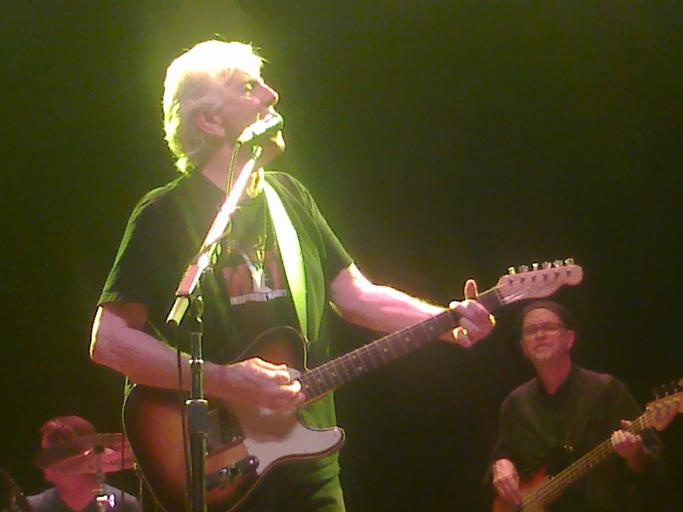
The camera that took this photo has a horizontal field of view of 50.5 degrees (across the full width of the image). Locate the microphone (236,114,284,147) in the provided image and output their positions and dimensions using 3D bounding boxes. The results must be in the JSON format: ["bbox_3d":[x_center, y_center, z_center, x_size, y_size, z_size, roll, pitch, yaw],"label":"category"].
[{"bbox_3d":[-0.370,-0.583,3.332,0.238,0.061,0.131,-30,27,14],"label":"microphone"}]
